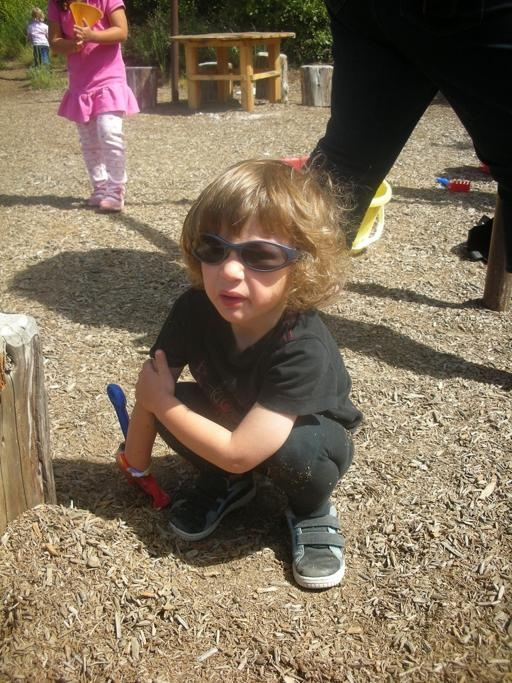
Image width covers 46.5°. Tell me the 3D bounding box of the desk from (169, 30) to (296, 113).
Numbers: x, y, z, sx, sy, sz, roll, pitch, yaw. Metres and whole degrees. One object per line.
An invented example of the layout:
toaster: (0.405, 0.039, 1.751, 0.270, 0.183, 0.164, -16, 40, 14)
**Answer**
desk: (-0.332, -3.820, 8.419, 1.408, 0.947, 1.470, 12, 31, 22)

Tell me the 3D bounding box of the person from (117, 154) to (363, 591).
person: (-0.047, 0.064, 1.446, 0.602, 0.953, 0.481, 5, 24, 15)

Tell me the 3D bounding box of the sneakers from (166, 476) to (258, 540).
sneakers: (-0.111, 0.419, 1.604, 0.095, 0.096, 0.260, 25, 33, 38)

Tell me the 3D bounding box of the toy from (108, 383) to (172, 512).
toy: (-0.309, 0.299, 1.602, 0.079, 0.307, 0.298, -33, 48, -12)

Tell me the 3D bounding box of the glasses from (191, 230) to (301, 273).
glasses: (-0.025, -0.188, 1.250, 0.228, 0.074, 0.094, 1, 22, 4)

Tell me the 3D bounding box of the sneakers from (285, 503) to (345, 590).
sneakers: (0.149, 0.493, 1.401, 0.081, 0.068, 0.192, -2, 14, -1)
